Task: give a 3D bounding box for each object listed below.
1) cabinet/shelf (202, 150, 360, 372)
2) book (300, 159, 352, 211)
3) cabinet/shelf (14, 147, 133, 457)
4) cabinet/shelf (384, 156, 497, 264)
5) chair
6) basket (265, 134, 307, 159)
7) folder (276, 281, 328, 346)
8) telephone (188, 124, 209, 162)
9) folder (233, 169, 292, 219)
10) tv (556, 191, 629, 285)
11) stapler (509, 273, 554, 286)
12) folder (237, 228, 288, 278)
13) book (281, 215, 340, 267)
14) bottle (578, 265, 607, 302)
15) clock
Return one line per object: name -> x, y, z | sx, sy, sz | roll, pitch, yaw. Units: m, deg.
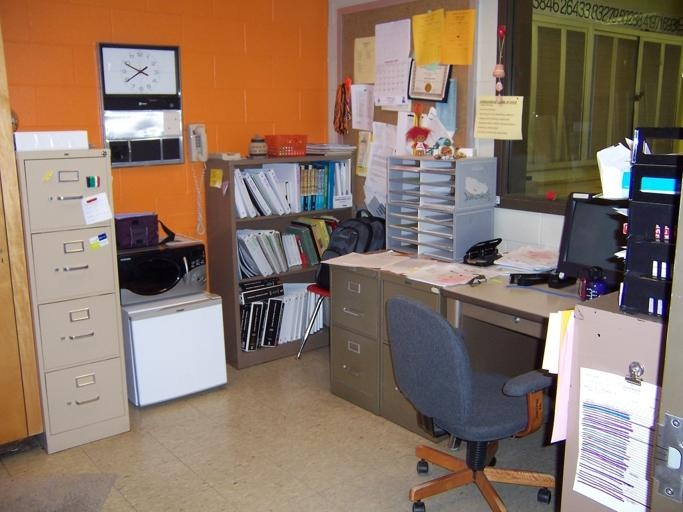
cabinet/shelf -> -0.487, 0.044, 4.002 | 0.460, 2.046, 1.356 | 10, 15, 44
book -> -0.159, -0.528, 4.496 | 0.376, 0.505, 0.522 | -4, 8, -14
cabinet/shelf -> -1.490, 0.253, 3.061 | 0.594, 1.675, 0.258 | -11, 17, -22
cabinet/shelf -> 0.616, -0.289, 3.793 | 0.619, 0.908, 0.903 | -8, 13, -42
chair -> 0.633, 0.727, 2.617 | 0.647, 0.954, 0.713 | -13, 20, -29
basket -> -0.416, -0.830, 4.127 | 0.210, 0.126, 0.211 | -9, 18, -28
folder -> -0.400, 0.417, 4.518 | 0.387, 0.520, 0.534 | 0, 14, -30
telephone -> -1.033, -0.821, 3.972 | 0.091, 0.285, 0.169 | 8, 20, 36
folder -> -0.597, -0.476, 4.050 | 0.451, 0.380, 0.189 | -12, 18, -24
tv -> 1.236, -0.076, 2.657 | 0.232, 0.353, 0.309 | -20, 38, -36
stapler -> 1.011, 0.124, 2.892 | 0.220, 0.063, 0.072 | -6, 16, -6
folder -> -0.588, -0.022, 4.066 | 0.349, 0.348, 0.195 | -7, 16, -8
book -> -0.262, -0.096, 4.474 | 0.323, 0.523, 0.533 | -13, 2, -36
bottle -> 1.213, 0.129, 2.609 | 0.123, 0.124, 0.225 | 4, 18, 26
clock -> -1.388, -1.215, 3.662 | 0.536, 0.392, 0.058 | -8, 17, -34
